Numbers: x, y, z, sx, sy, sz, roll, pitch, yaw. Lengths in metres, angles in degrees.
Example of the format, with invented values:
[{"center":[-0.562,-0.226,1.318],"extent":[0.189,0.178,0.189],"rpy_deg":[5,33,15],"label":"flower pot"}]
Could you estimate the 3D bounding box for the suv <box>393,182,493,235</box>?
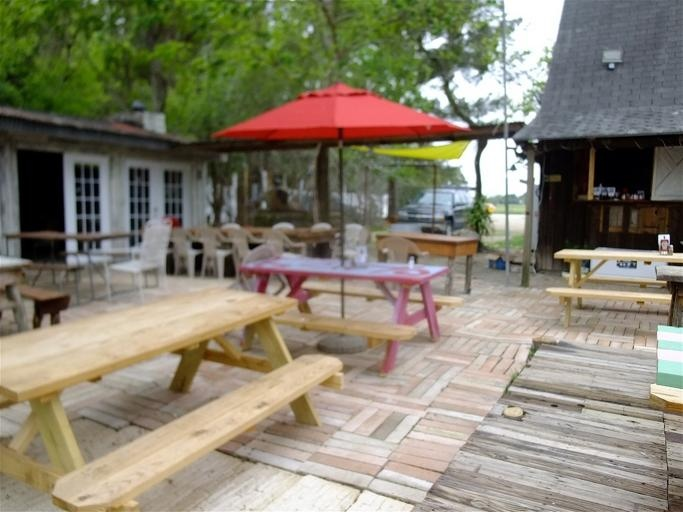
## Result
[{"center":[2.145,-1.305,14.178],"extent":[1.188,1.026,2.376],"rpy_deg":[3,4,37],"label":"suv"}]
